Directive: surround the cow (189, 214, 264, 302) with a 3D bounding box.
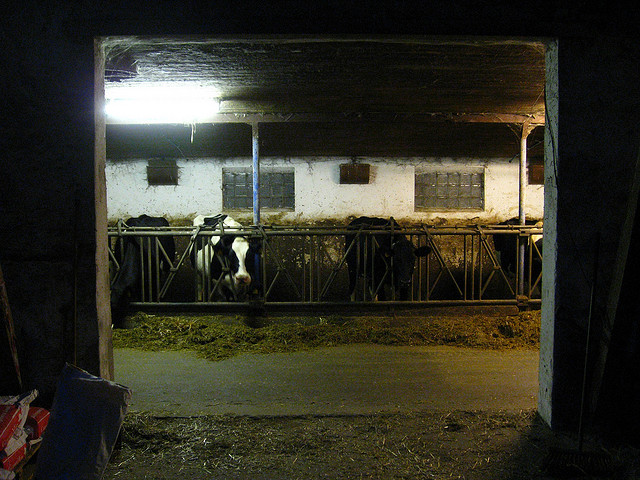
[{"bbox_3d":[-1.120,0.174,8.923,0.649,0.990,1.799,-5,16,-15],"label":"cow"}]

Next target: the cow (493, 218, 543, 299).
[{"bbox_3d":[2.668,0.202,9.599,0.658,1.240,2.374,3,12,16],"label":"cow"}]

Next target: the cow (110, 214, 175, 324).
[{"bbox_3d":[-2.143,0.273,8.533,0.693,0.955,1.672,-3,12,-12],"label":"cow"}]
